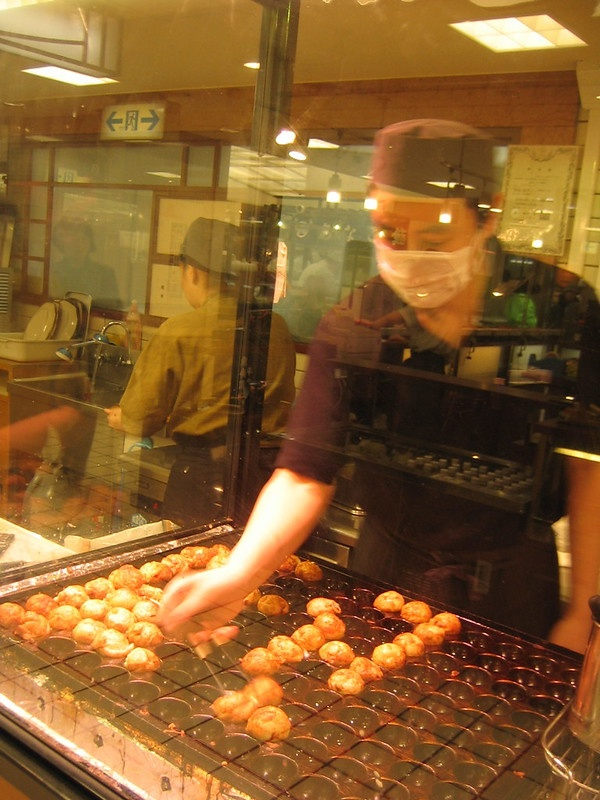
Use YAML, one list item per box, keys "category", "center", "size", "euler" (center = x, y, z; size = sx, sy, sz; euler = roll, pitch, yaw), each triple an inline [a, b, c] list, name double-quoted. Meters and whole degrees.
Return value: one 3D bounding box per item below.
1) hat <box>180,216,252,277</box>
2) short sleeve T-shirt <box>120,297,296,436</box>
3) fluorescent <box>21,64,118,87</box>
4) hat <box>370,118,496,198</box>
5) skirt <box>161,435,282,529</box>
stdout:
- category: "hat"
  center: [-0.133, -0.303, 1.274]
  size: [0.117, 0.093, 0.132]
  euler: [-15, 10, -38]
- category: "short sleeve T-shirt"
  center: [-0.177, -0.075, 1.263]
  size: [0.263, 0.192, 0.125]
  euler: [-5, 32, -32]
- category: "fluorescent"
  center: [-0.370, -0.521, 1.059]
  size: [0.140, 0.021, 0.021]
  euler: [0, 5, -13]
- category: "hat"
  center: [0.148, -0.273, 0.760]
  size: [0.050, 0.092, 0.186]
  euler: [-3, 6, -37]
- category: "skirt"
  center: [-0.184, 0.158, 1.400]
  size: [0.152, 0.235, 0.136]
  euler: [-1, -10, 16]
